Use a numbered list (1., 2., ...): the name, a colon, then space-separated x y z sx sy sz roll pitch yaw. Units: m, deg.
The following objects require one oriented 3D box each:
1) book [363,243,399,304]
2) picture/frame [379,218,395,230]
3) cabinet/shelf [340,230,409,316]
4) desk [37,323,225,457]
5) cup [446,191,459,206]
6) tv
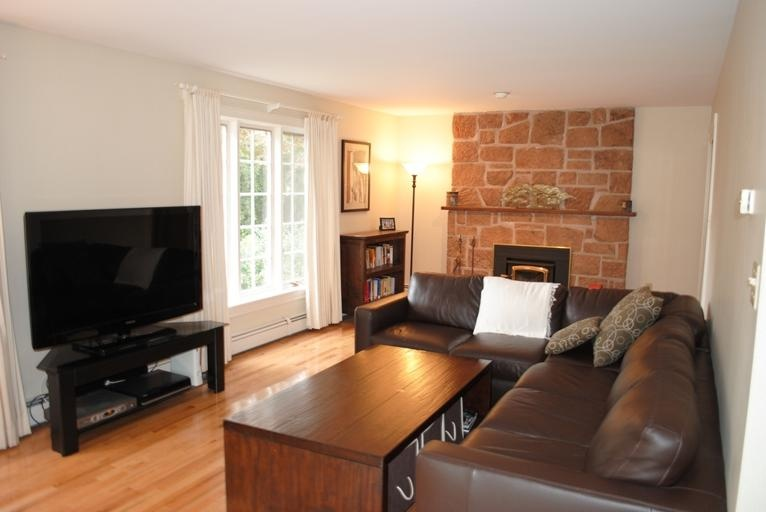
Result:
1. book: -0.051 0.233 7.120 0.273 0.727 0.832 2 5 22
2. picture/frame: 0.060 -0.479 7.746 0.232 0.189 0.438 -1 7 -2
3. cabinet/shelf: -0.088 0.181 7.421 0.461 1.030 1.299 4 9 29
4. desk: -2.086 0.886 4.039 0.916 0.553 1.218 6 10 27
5. cup: 1.039 -0.840 7.695 0.166 0.220 0.122 0 8 7
6. tv: -2.204 0.201 4.152 0.149 0.911 1.355 6 9 37
